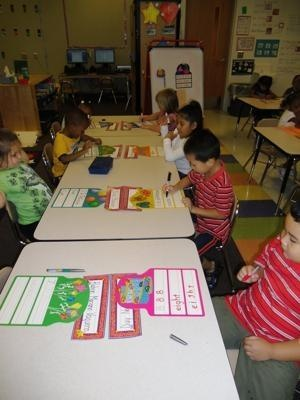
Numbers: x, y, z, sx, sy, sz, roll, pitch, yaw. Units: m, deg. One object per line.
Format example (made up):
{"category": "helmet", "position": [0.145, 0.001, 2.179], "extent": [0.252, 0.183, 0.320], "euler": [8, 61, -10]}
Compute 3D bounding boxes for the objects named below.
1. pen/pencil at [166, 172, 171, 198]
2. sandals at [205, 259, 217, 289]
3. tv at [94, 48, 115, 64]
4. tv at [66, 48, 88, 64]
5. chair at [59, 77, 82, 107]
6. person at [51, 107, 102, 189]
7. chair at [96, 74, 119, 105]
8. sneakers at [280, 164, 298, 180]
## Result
{"category": "pen/pencil", "position": [0.122, -0.107, 1.823], "extent": [0.029, 0.192, 0.022], "euler": [9, -13, -1]}
{"category": "sandals", "position": [0.476, 0.558, 2.152], "extent": [0.073, 0.092, 0.238], "euler": [-4, 27, 16]}
{"category": "tv", "position": [-1.171, -3.665, 7.223], "extent": [0.514, 0.353, 0.094], "euler": [-1, 43, -4]}
{"category": "tv", "position": [-1.851, -3.647, 7.173], "extent": [0.505, 0.344, 0.124], "euler": [-1, 44, -5]}
{"category": "chair", "position": [-2.076, -2.822, 7.316], "extent": [0.519, 0.656, 1.158], "euler": [-6, 32, -11]}
{"category": "person", "position": [-0.730, -0.300, 2.550], "extent": [0.348, 0.988, 0.420], "euler": [10, 32, -8]}
{"category": "chair", "position": [-1.139, -2.885, 7.344], "extent": [0.520, 0.671, 0.954], "euler": [-3, 31, -6]}
{"category": "sneakers", "position": [1.591, -0.315, 3.252], "extent": [0.208, 0.091, 0.259], "euler": [6, 50, 16]}
